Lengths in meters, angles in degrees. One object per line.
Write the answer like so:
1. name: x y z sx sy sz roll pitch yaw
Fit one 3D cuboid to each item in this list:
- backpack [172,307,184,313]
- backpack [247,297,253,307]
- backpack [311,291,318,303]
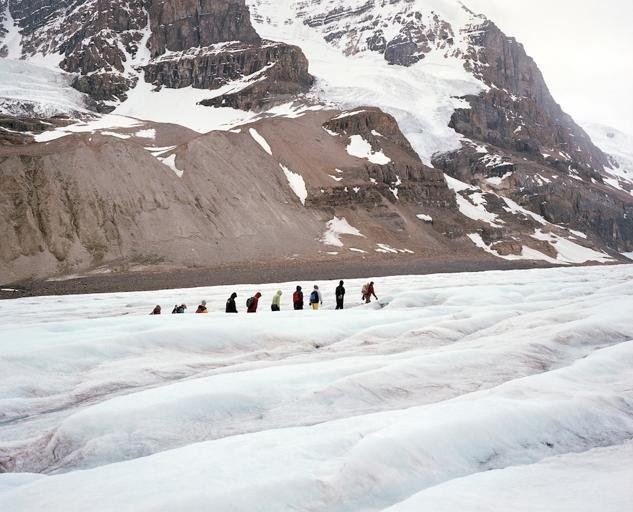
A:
1. backpack: -4.403 1.724 21.586 0.345 0.204 0.138 -12 -16 -3
2. backpack: -2.077 1.455 21.142 0.205 0.283 0.362 5 9 -4
3. backpack: -0.046 1.386 22.971 0.292 0.425 0.285 6 10 1
